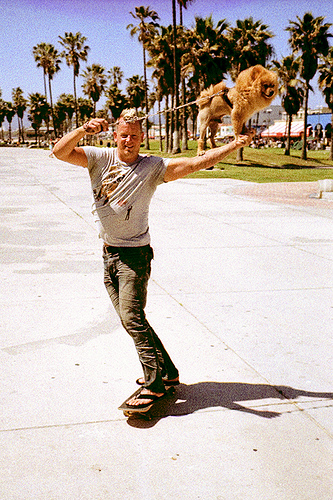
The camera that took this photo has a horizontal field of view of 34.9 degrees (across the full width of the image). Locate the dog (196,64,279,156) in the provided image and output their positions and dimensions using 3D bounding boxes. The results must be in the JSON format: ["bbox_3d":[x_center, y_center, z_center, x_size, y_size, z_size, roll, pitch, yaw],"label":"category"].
[{"bbox_3d":[0.429,-0.867,3.337,0.254,0.402,0.705,-1,2,-40],"label":"dog"}]

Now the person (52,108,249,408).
[{"bbox_3d":[-0.179,0.029,3.357,0.766,1.655,0.766,12,19,36],"label":"person"}]

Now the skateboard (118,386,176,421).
[{"bbox_3d":[-0.167,0.923,3.180,0.202,0.134,0.204,5,14,16],"label":"skateboard"}]
